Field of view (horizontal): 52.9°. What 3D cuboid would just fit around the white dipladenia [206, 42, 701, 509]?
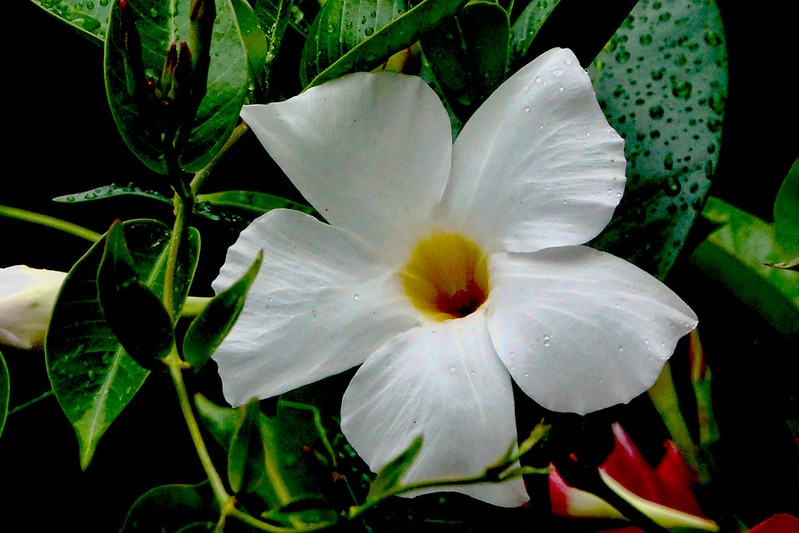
[{"bbox_3d":[0.027,0.079,0.885,0.409,0.134,0.452,-5,26,6],"label":"white dipladenia"}]
